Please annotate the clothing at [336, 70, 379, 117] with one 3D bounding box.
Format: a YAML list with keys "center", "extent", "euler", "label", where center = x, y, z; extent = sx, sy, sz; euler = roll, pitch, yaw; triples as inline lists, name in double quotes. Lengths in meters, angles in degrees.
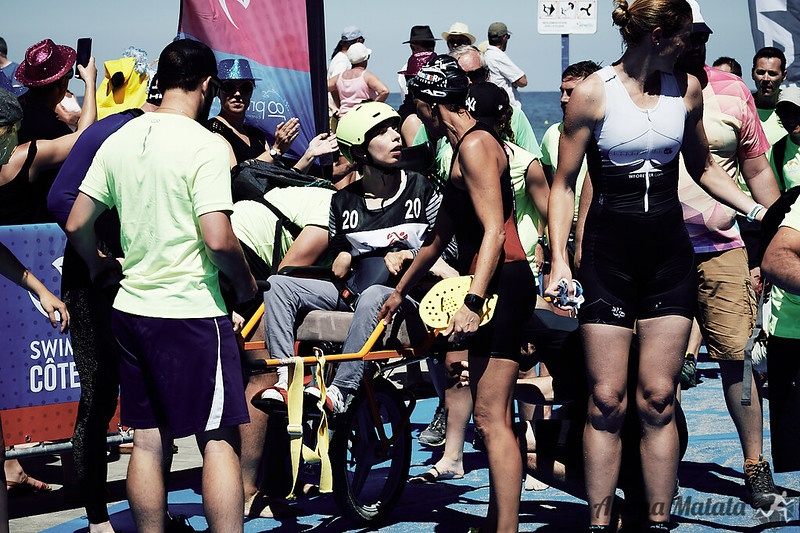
- center: [-0.707, -2.564, 12.357]
  extent: [0.448, 0.600, 0.328]
  euler: [-9, -18, 4]
  label: "clothing"

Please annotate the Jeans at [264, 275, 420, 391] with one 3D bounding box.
- center: [-0.356, 0.498, 5.770]
  extent: [0.642, 0.917, 0.858]
  euler: [4, -14, 24]
  label: "Jeans"

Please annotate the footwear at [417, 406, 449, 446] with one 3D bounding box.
- center: [0.341, 1.410, 7.334]
  extent: [0.190, 0.243, 0.533]
  euler: [6, 15, 33]
  label: "footwear"

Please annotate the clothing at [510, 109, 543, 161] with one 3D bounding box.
- center: [1.192, -1.406, 7.990]
  extent: [0.231, 0.659, 0.244]
  euler: [-12, -36, 17]
  label: "clothing"

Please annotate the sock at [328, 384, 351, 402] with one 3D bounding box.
- center: [-0.423, 0.845, 5.374]
  extent: [0.069, 0.086, 0.198]
  euler: [4, -26, 39]
  label: "sock"
